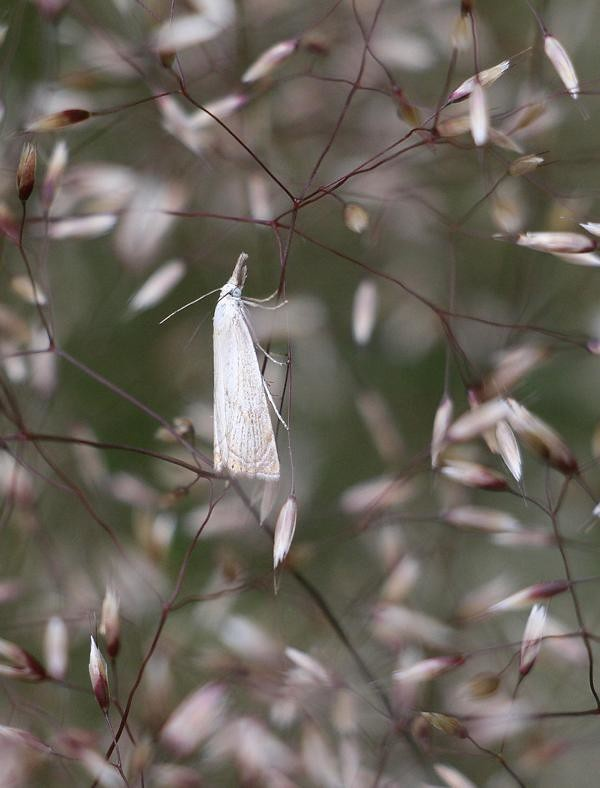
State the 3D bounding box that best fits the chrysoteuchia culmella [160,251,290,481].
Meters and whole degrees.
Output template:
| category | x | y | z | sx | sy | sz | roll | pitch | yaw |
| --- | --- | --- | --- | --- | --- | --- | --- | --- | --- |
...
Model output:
| category | x | y | z | sx | sy | sz | roll | pitch | yaw |
| --- | --- | --- | --- | --- | --- | --- | --- | --- | --- |
| chrysoteuchia culmella | -0.034 | -0.018 | 0.492 | 0.081 | 0.029 | 0.101 | -2 | 85 | 37 |
